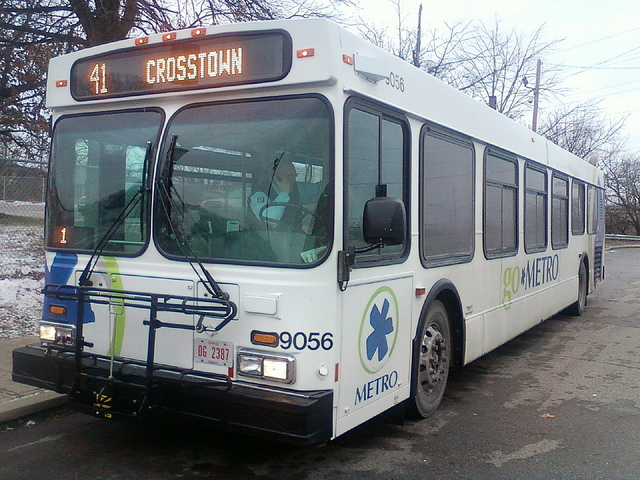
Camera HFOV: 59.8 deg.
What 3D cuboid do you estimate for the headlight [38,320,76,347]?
[{"bbox_3d":[-2.542,0.870,5.352,0.312,0.282,0.110,7,-14,6],"label":"headlight"}]

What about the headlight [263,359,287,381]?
[{"bbox_3d":[-0.359,1.048,4.518,0.192,0.129,0.031,0,1,22],"label":"headlight"}]
